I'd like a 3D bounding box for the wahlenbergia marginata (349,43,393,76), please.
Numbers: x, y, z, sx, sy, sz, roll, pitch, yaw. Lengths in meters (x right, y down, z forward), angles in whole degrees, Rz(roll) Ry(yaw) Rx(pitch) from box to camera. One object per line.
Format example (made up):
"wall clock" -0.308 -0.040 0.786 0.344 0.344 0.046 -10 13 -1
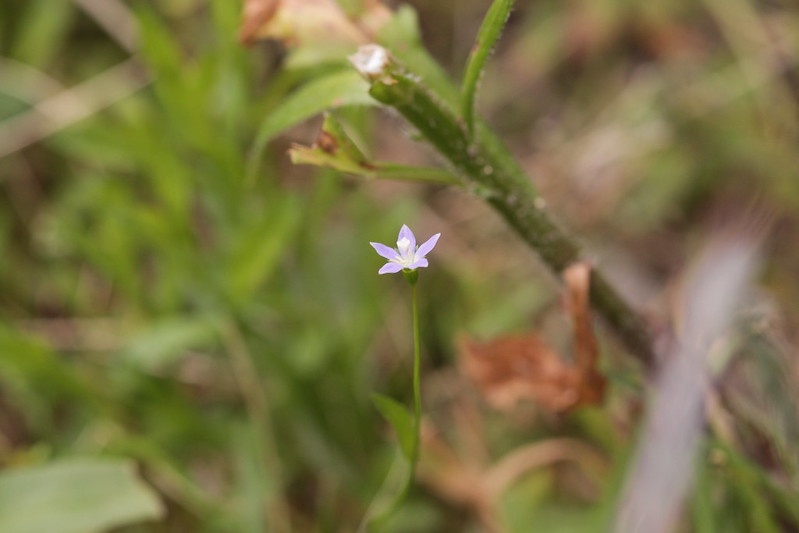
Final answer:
"wahlenbergia marginata" -0.031 -0.252 1.181 0.051 0.033 0.053 18 27 38
